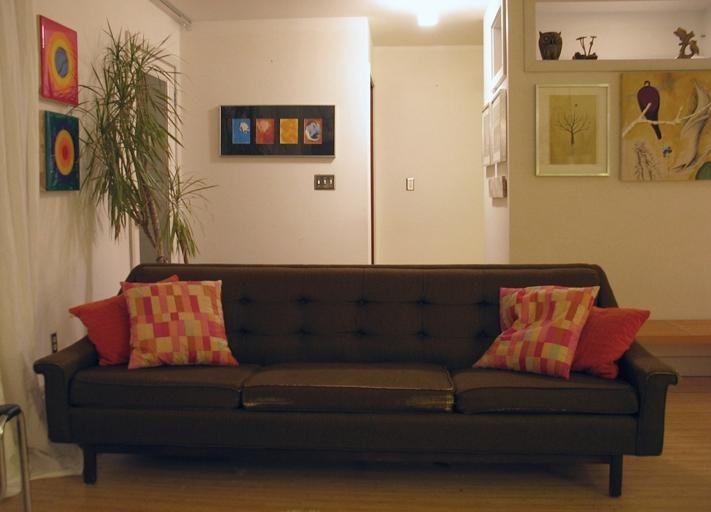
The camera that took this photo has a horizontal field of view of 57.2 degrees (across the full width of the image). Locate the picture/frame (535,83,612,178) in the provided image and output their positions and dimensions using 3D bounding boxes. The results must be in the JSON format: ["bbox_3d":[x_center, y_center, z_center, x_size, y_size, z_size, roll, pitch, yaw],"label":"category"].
[{"bbox_3d":[1.753,-1.028,5.180,0.693,0.942,0.042,0,5,5],"label":"picture/frame"}]

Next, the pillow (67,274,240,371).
[{"bbox_3d":[-1.102,0.392,3.652,0.603,0.613,0.183,-3,-20,-17],"label":"pillow"}]
